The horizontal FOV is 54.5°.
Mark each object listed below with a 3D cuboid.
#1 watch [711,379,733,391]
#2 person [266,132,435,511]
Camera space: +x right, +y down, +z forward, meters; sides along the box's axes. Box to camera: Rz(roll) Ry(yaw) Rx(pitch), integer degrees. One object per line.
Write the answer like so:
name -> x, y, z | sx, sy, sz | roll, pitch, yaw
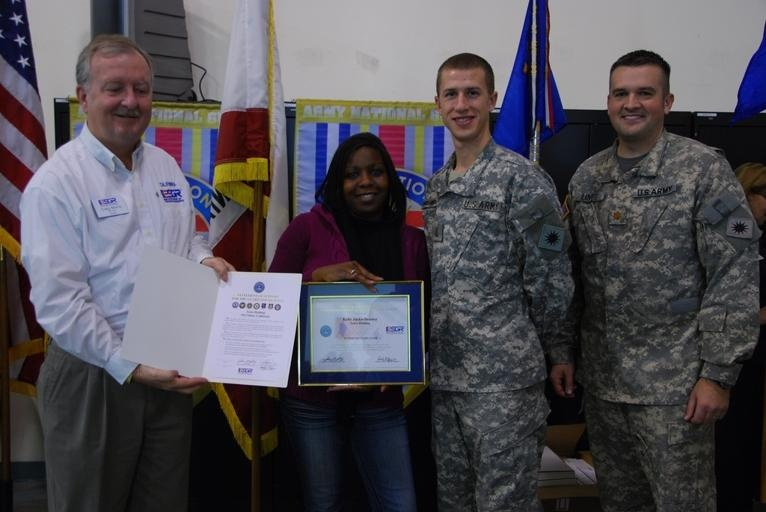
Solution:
watch -> 1.725, 0.661, 3.784 | 0.071, 0.017, 0.069 | 1, 4, -38
person -> -0.172, 0.348, 3.902 | 0.823, 1.996, 0.401 | 1, 5, 2
